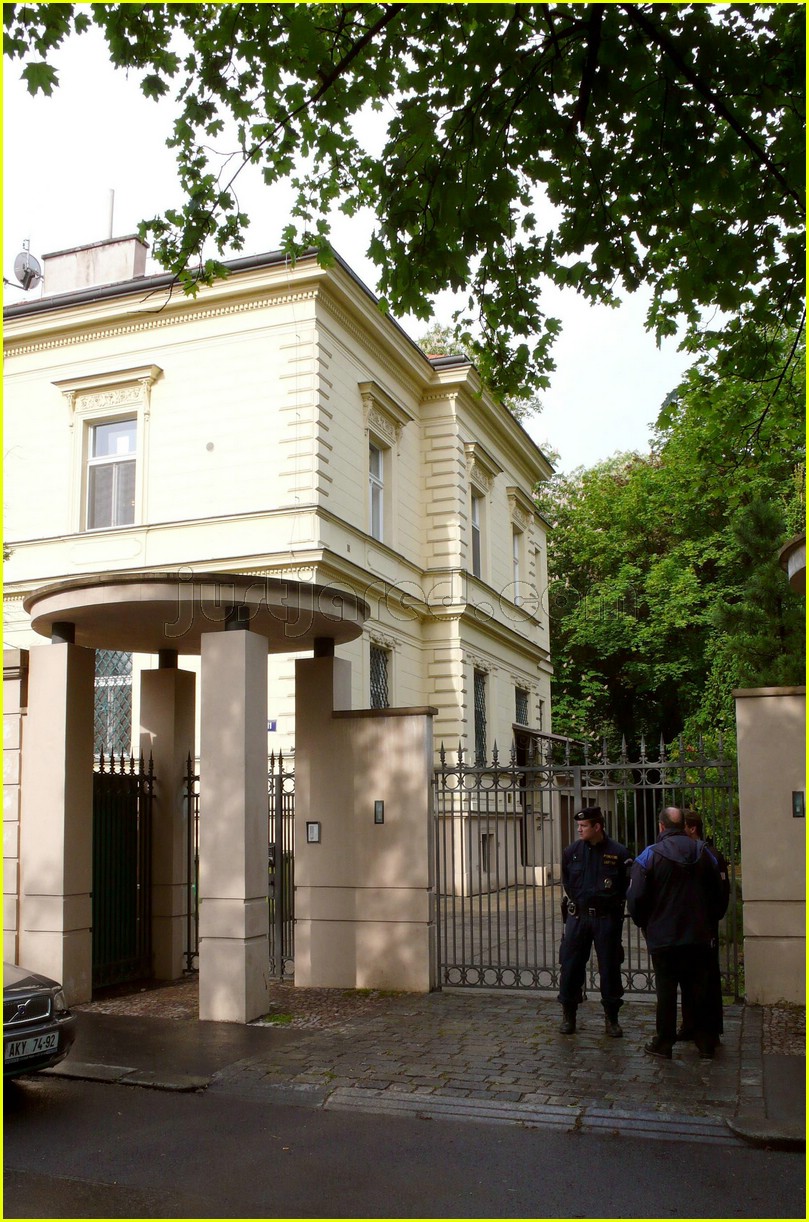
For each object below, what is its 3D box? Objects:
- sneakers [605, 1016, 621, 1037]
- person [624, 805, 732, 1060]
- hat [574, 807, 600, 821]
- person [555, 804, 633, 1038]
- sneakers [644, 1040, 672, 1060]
[{"bbox_3d":[1.612,3.209,8.887,0.119,0.120,0.297,-1,-9,11],"label":"sneakers"},{"bbox_3d":[1.950,2.280,8.218,0.700,1.724,0.406,-1,-8,12],"label":"person"},{"bbox_3d":[1.464,1.619,9.207,0.266,0.112,0.292,0,-12,8],"label":"hat"},{"bbox_3d":[1.487,2.422,9.045,0.530,1.731,0.625,0,-8,5],"label":"person"},{"bbox_3d":[1.807,3.114,8.154,0.078,0.149,0.206,3,3,-25],"label":"sneakers"}]
